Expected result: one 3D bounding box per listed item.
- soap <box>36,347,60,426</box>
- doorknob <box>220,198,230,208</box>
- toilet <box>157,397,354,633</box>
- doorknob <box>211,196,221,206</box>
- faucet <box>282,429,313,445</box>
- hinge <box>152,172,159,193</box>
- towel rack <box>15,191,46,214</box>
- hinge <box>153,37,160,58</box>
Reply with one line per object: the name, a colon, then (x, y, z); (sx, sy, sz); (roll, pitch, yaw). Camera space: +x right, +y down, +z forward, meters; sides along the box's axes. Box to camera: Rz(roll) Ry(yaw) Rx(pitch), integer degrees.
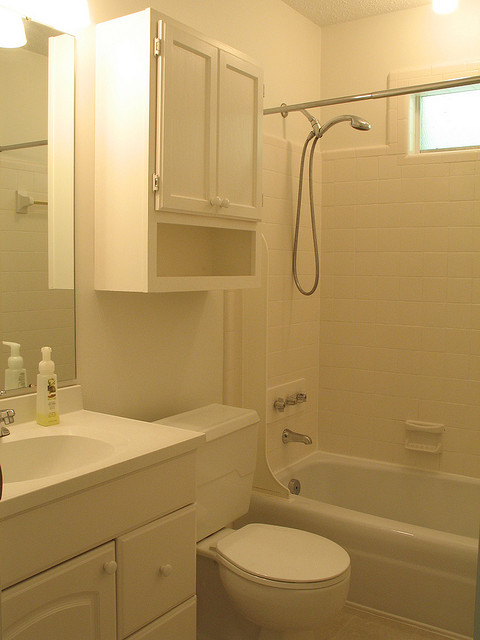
soap: (-0.509, 0.170, 1.355); (0.055, 0.201, 0.117); (-3, 6, -23)
doorknob: (-0.045, -0.361, 1.592); (0.021, 0.023, 0.023); (-2, 18, -5)
toilet: (0.085, 0.555, 2.002); (0.818, 1.089, 0.482); (4, 10, 30)
doorknob: (-0.071, -0.358, 1.563); (0.019, 0.034, 0.038); (2, 4, 39)
faucet: (0.263, 0.557, 2.423); (0.062, 0.090, 0.156); (-19, 17, -39)
hinge: (-0.225, -0.368, 1.378); (0.012, 0.052, 0.018); (5, 8, 41)
towel rack: (-0.538, -0.298, 1.310); (0.004, 0.059, 0.080); (3, 7, 26)
hinge: (-0.220, -0.722, 1.359); (0.018, 0.049, 0.008); (-2, 6, -18)
